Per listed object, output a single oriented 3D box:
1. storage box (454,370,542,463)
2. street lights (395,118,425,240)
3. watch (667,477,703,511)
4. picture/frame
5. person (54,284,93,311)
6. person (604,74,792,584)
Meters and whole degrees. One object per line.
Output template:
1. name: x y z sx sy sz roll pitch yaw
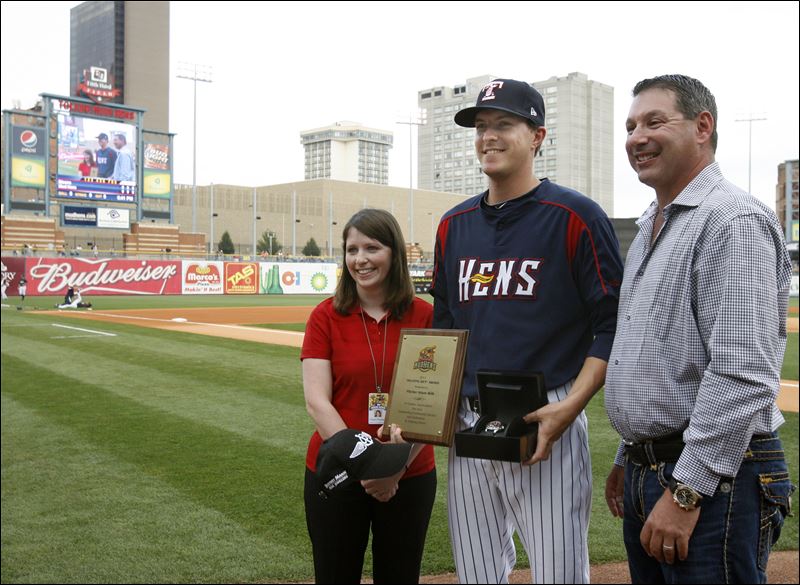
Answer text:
1. storage box: 0.388 0.469 2.592 0.329 0.293 0.314 0 2 27
2. street lights: 0.195 -2.781 13.817 0.537 2.096 0.086 4 -37 -9
3. watch: 0.977 0.699 2.352 0.076 0.119 0.110 -42 -3 22
4. picture/frame: 0.101 0.364 2.654 0.325 0.459 0.136 4 -11 28
5. person: -8.721 0.198 18.155 0.771 0.479 1.662 -2 10 -22
6. person: 1.081 0.154 2.534 0.559 1.949 0.691 -3 10 -22
